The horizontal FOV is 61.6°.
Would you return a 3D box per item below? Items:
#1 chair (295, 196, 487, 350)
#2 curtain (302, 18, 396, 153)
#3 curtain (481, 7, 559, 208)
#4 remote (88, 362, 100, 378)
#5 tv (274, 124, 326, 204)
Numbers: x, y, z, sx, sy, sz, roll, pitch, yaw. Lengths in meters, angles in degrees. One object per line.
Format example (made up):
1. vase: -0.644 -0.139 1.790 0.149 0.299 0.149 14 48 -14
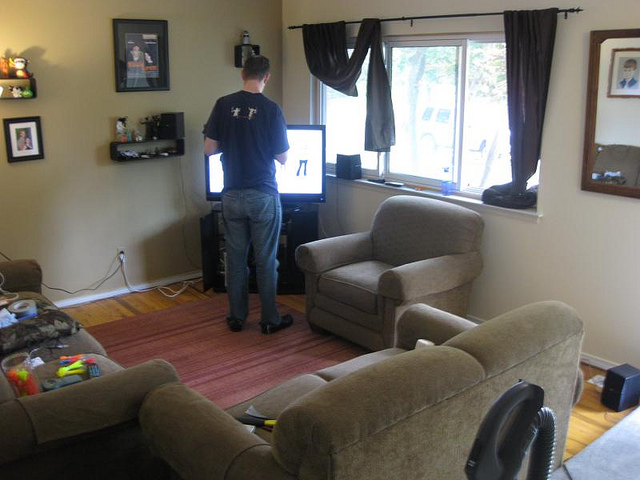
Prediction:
1. chair: 0.558 0.245 4.298 1.127 1.011 1.213 -10 17 -34
2. curtain: 0.289 -1.460 5.062 0.293 1.138 1.044 -14 23 -39
3. curtain: 1.480 -0.938 3.936 0.391 1.314 0.118 20 25 39
4. remote: -1.070 0.613 2.524 0.043 0.043 0.080 -21 54 9
5. tv: -0.213 -0.735 5.055 0.564 0.688 0.047 0 6 -21
